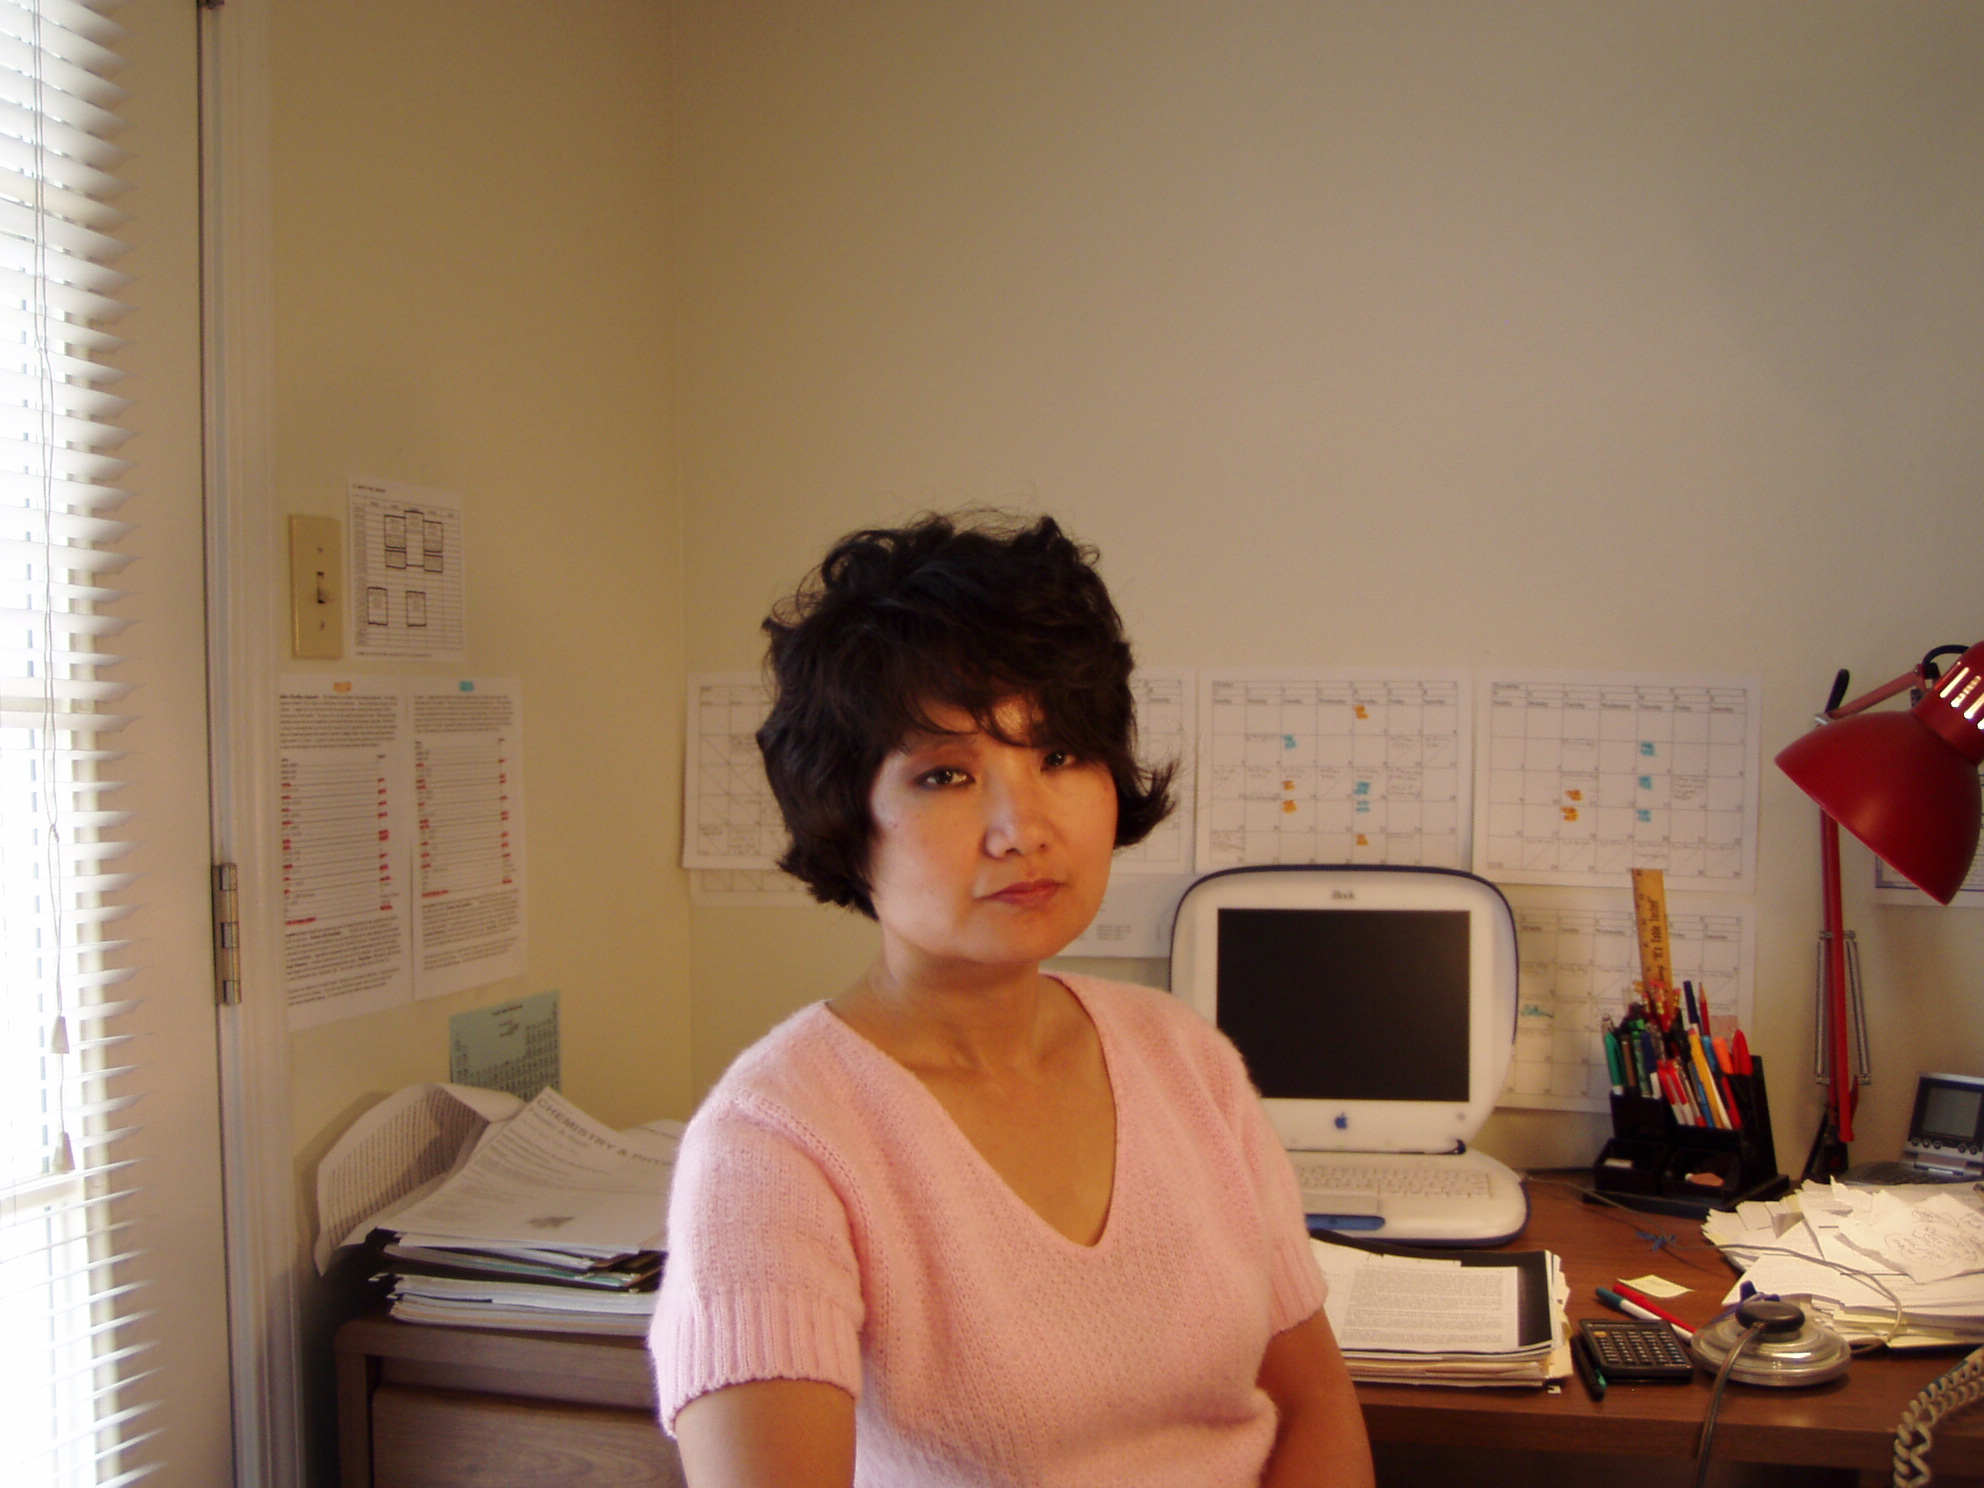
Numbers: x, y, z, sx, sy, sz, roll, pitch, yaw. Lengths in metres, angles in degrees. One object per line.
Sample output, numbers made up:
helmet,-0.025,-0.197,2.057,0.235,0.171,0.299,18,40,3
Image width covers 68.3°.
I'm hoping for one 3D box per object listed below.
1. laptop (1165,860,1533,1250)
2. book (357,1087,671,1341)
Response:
laptop,0.480,0.368,2.095,0.537,0.531,0.388,0,-3,6
book,-0.509,0.526,1.652,0.214,0.090,0.230,2,7,10
